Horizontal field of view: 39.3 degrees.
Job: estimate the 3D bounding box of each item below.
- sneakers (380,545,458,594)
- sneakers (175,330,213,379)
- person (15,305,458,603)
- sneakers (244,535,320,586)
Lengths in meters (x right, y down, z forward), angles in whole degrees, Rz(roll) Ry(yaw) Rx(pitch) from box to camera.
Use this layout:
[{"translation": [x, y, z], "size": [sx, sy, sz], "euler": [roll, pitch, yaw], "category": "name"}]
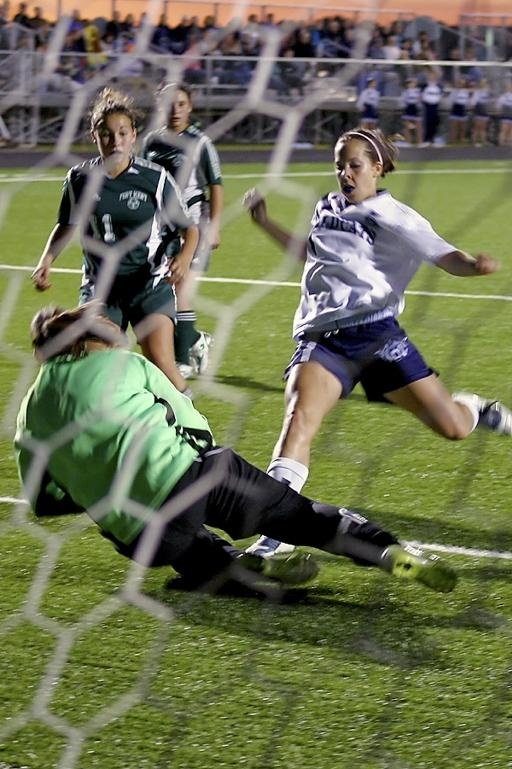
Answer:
[{"translation": [0.398, 0.445, 1.792], "size": [0.182, 0.062, 0.102], "euler": [19, -13, 7], "category": "sneakers"}, {"translation": [-0.346, -0.168, 4.221], "size": [0.126, 0.135, 0.328], "euler": [9, 31, 9], "category": "sneakers"}, {"translation": [-0.346, 0.103, 1.919], "size": [1.452, 0.448, 0.535], "euler": [25, 20, 26], "category": "person"}, {"translation": [0.067, 0.469, 1.900], "size": [0.193, 0.056, 0.124], "euler": [18, -7, 2], "category": "sneakers"}]
